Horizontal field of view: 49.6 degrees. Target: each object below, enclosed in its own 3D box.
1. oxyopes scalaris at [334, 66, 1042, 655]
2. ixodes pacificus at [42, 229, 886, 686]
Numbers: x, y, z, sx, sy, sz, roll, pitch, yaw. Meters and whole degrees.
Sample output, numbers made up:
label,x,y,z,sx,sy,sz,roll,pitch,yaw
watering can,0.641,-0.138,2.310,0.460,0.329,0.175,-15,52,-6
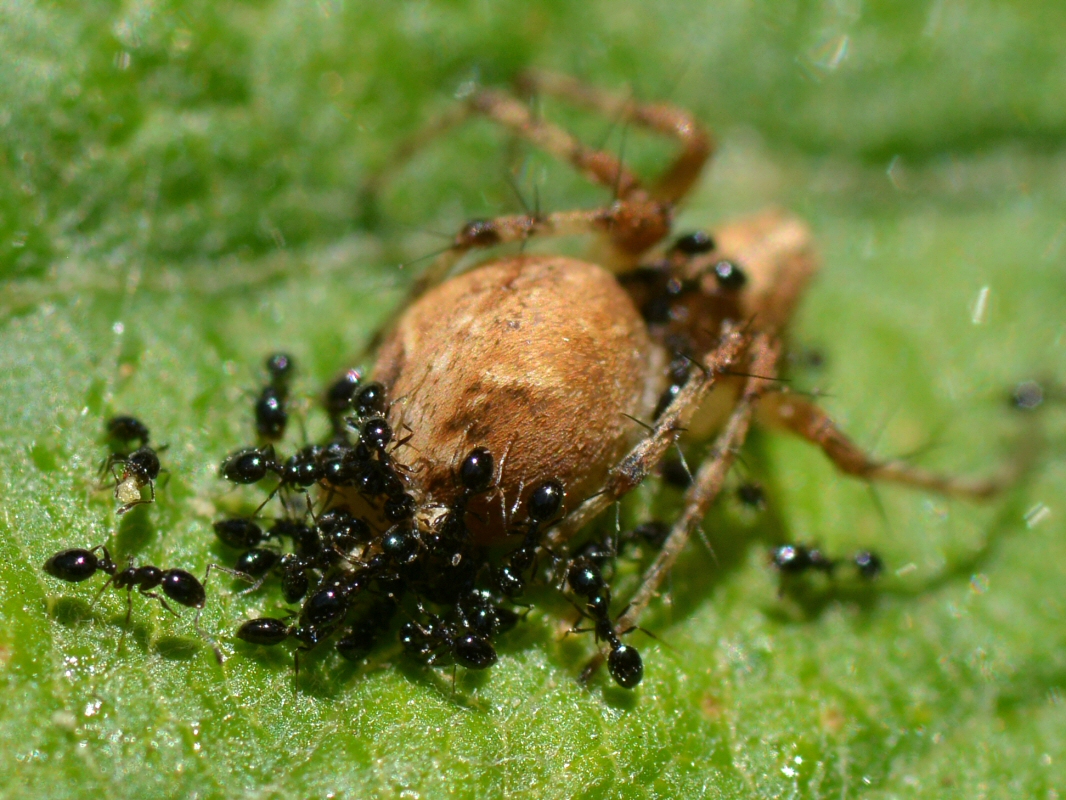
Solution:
label,x,y,z,sx,sy,sz,roll,pitch,yaw
oxyopes scalaris,0.239,-0.115,4.510,2.456,0.686,2.054,41,69,7
ixodes pacificus,-0.096,0.217,4.456,2.601,0.805,1.612,-38,82,-17
